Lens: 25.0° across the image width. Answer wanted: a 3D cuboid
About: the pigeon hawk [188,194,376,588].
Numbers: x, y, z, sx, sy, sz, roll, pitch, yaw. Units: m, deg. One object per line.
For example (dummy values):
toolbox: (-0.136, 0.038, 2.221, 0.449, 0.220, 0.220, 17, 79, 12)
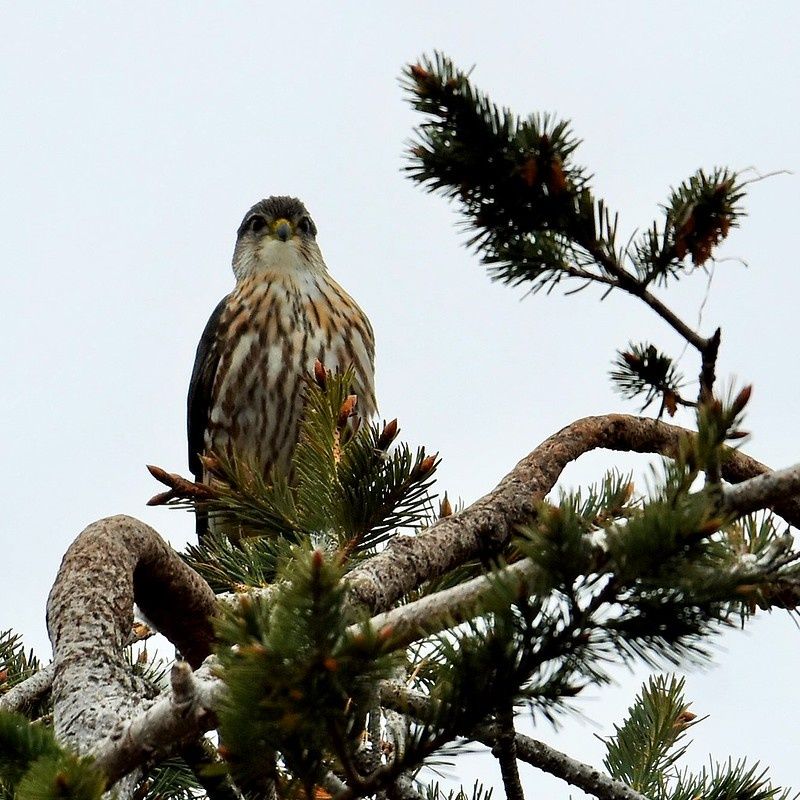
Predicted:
pigeon hawk: (-0.356, 0.058, 5.328, 0.525, 1.261, 0.887, 8, -65, -7)
